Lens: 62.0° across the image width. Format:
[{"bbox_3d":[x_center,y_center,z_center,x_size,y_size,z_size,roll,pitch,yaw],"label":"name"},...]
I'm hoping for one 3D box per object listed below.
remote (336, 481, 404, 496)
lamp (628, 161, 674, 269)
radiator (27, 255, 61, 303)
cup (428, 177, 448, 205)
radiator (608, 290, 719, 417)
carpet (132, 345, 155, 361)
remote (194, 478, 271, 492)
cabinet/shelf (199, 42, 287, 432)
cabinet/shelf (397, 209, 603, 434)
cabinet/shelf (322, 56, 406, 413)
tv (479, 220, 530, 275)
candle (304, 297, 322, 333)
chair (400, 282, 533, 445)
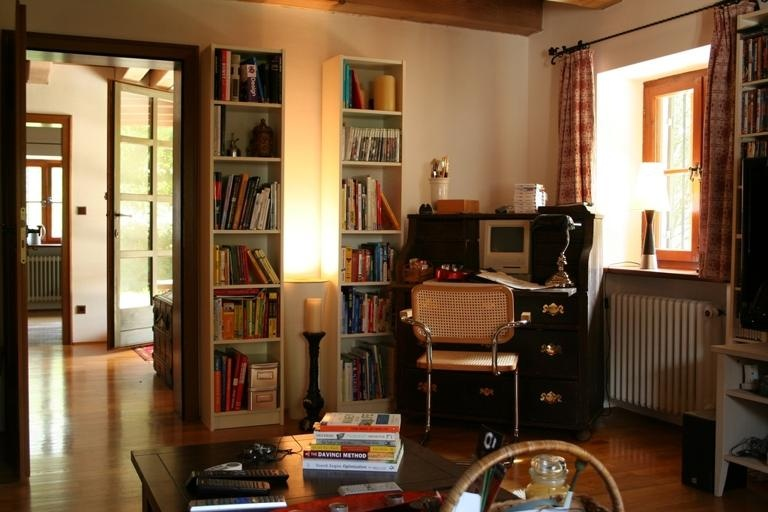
[{"bbox_3d":[-0.058,0.983,2.701,0.263,0.029,0.124,-1,4,-3],"label":"remote"},{"bbox_3d":[2.122,-0.327,5.055,0.230,0.843,0.446,0,4,23],"label":"lamp"},{"bbox_3d":[-5.235,0.364,9.912,0.454,0.768,0.191,-3,4,-27],"label":"radiator"},{"bbox_3d":[0.462,-0.546,5.403,0.196,0.232,0.215,1,0,26],"label":"cup"},{"bbox_3d":[2.071,0.745,4.871,0.169,0.864,0.952,2,0,-29],"label":"radiator"},{"bbox_3d":[-2.621,1.060,7.005,0.196,0.036,0.796,-3,4,-22],"label":"carpet"},{"bbox_3d":[-0.628,0.963,2.690,0.333,0.043,0.103,2,7,-5],"label":"remote"},{"bbox_3d":[-1.094,-0.141,4.945,0.711,2.863,0.435,-3,4,-16],"label":"cabinet/shelf"},{"bbox_3d":[0.903,0.413,5.085,1.515,1.493,0.824,0,-1,19],"label":"cabinet/shelf"},{"bbox_3d":[-0.006,-0.447,5.129,0.467,2.158,0.385,-4,-6,14],"label":"cabinet/shelf"},{"bbox_3d":[1.006,-0.076,5.202,0.518,0.525,0.386,0,-2,18],"label":"tv"},{"bbox_3d":[-0.536,0.451,4.910,0.140,0.245,0.156,-2,4,-7],"label":"candle"},{"bbox_3d":[0.510,0.671,3.915,0.860,1.080,0.726,2,-14,-5],"label":"chair"}]
